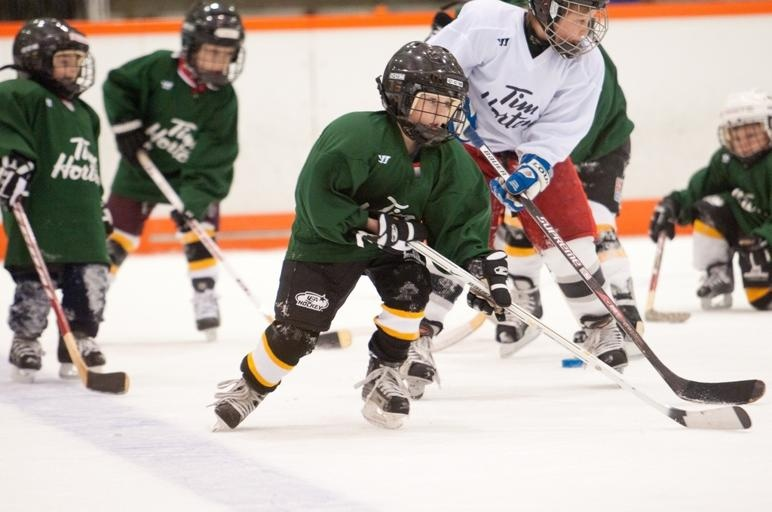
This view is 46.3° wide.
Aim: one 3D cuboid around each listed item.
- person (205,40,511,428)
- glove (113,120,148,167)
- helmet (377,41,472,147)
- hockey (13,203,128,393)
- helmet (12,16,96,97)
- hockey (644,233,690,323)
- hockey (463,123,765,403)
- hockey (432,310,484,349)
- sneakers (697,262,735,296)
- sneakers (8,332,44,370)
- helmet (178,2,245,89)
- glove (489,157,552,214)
[{"bbox_3d":[-0.089,-0.079,3.563,1.105,1.486,0.424,-3,15,-9],"label":"person"},{"bbox_3d":[-1.251,-0.568,4.466,0.081,0.181,0.148,-6,12,-13],"label":"glove"},{"bbox_3d":[0.107,-0.646,3.588,0.350,0.373,0.422,-15,36,-38],"label":"helmet"},{"bbox_3d":[-1.495,0.016,4.064,0.249,0.179,1.588,-13,51,-27],"label":"hockey"},{"bbox_3d":[-1.498,-0.886,4.060,0.468,0.313,0.313,2,17,0],"label":"helmet"},{"bbox_3d":[1.764,0.154,5.702,0.318,0.049,0.642,-4,27,16],"label":"hockey"},{"bbox_3d":[1.128,0.071,4.472,2.154,0.243,0.328,43,7,27],"label":"hockey"},{"bbox_3d":[0.358,0.405,4.663,0.267,0.056,0.253,-23,0,-24],"label":"hockey"},{"bbox_3d":[1.878,0.152,5.291,0.192,0.108,0.218,-12,-22,-26],"label":"sneakers"},{"bbox_3d":[-1.594,0.420,4.014,0.159,0.081,0.166,1,8,-30],"label":"sneakers"},{"bbox_3d":[-0.873,-1.047,4.479,0.361,0.405,0.424,-6,36,-25],"label":"helmet"},{"bbox_3d":[0.592,-0.315,4.023,0.284,0.187,0.106,-41,-6,16],"label":"glove"}]
